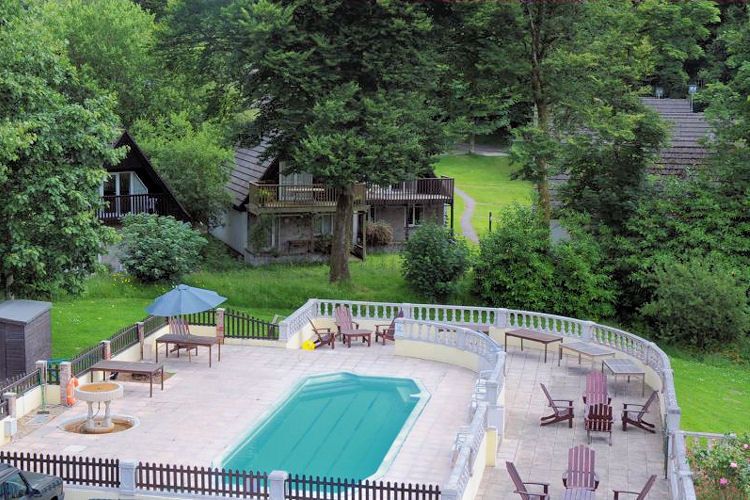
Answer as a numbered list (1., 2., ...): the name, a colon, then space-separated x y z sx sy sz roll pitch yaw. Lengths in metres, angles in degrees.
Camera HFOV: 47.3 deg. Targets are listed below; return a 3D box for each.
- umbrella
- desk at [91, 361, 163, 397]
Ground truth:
1. umbrella: -7.408 2.098 33.637 1.791 0.725 1.825 -4 15 22
2. desk: -9.224 4.691 31.747 2.504 1.101 1.768 0 5 -12
